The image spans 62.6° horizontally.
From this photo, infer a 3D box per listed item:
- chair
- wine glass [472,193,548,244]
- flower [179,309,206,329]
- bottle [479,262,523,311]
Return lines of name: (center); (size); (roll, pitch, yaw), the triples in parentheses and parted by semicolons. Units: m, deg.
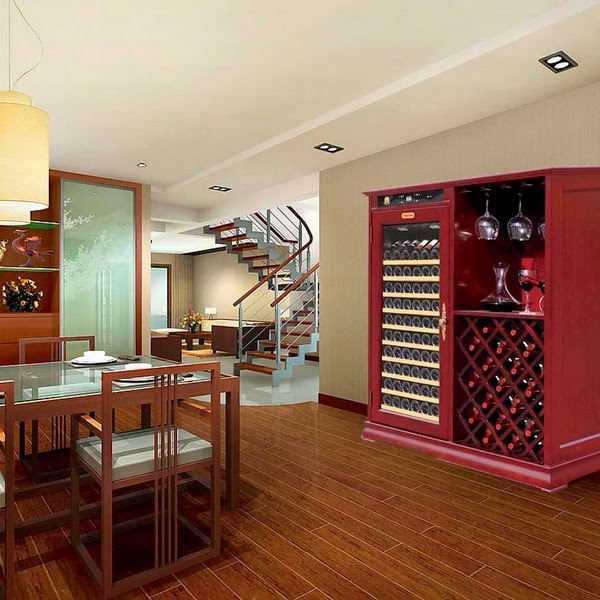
chair: (-0.866, 0.696, 2.445); (1.010, 0.677, 1.120); (0, 1, -32)
wine glass: (1.409, -0.565, 3.265); (0.486, 0.330, 0.344); (-2, 2, -26)
flower: (-2.487, 0.454, 11.373); (0.577, 0.432, 0.557); (0, -5, 34)
bottle: (1.313, -0.088, 3.267); (0.376, 0.340, 0.334); (0, 1, 9)
